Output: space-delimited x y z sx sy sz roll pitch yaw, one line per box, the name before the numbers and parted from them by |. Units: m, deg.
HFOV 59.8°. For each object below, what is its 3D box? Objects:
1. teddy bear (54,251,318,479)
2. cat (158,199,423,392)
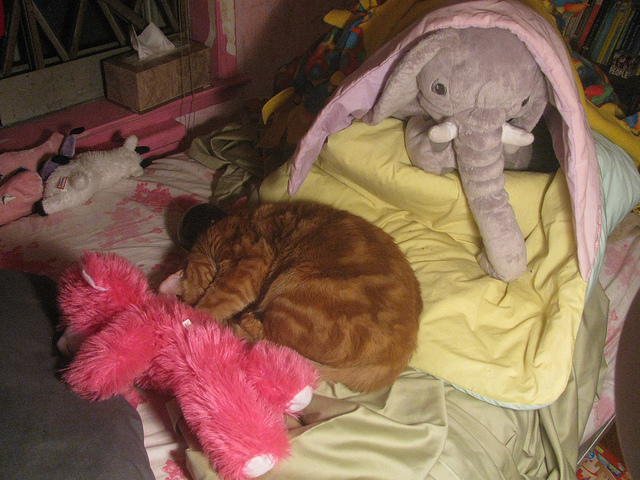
teddy bear | -0.346 0.262 1.289 0.605 0.250 0.396 32 33 11
cat | -0.065 0.110 1.578 0.550 0.534 0.772 1 23 -18
